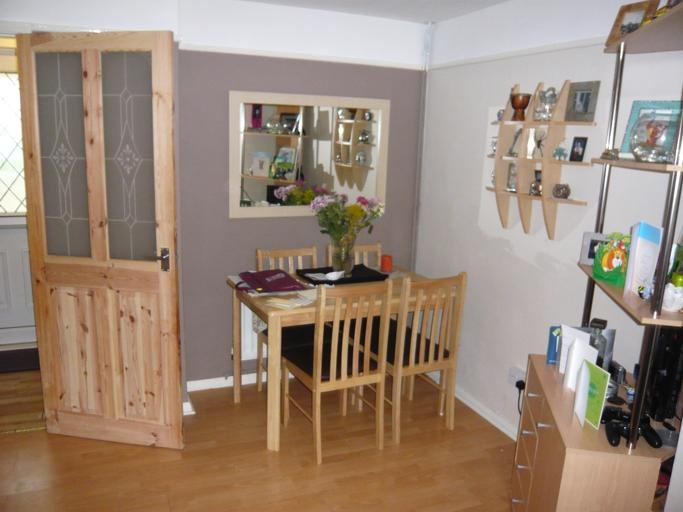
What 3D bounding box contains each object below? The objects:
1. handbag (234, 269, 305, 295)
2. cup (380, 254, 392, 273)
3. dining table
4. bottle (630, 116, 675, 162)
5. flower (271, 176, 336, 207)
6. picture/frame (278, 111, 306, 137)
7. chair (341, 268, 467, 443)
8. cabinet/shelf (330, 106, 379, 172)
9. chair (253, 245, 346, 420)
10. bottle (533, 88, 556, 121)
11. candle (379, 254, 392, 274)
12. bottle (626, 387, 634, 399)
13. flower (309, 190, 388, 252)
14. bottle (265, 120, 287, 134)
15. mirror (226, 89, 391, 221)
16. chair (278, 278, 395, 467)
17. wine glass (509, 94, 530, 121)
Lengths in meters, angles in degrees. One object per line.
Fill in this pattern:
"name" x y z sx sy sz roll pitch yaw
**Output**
"handbag" -0.499 0.190 3.795 0.235 0.053 0.248 -2 26 -28
"cup" 0.357 0.067 4.265 0.112 0.136 0.116 1 6 0
"dining table" -0.012 0.625 4.107 1.567 1.211 1.194 0 11 -13
"bottle" 1.389 -0.511 2.425 0.132 0.202 0.164 1 -8 18
"flower" -0.336 -0.526 4.334 0.346 0.231 0.230 -7 12 -29
"picture/frame" -0.391 -1.035 4.222 0.184 0.191 0.126 1 7 -8
"chair" 0.434 0.726 3.807 0.722 1.616 0.890 -5 23 -15
"cabinet/shelf" 0.089 -0.972 4.408 0.449 0.695 0.198 4 11 4
"chair" -0.393 0.469 4.119 0.572 1.007 0.621 -1 11 4
"bottle" 1.280 -0.947 3.379 0.129 0.201 0.086 4 13 20
"candle" 0.357 0.069 4.335 0.115 0.141 0.119 2 6 12
"bottle" 1.462 0.698 2.728 0.037 0.051 0.069 -1 1 10
"flower" 0.049 -0.298 4.122 0.556 0.561 0.610 -4 9 -4
"bottle" -0.503 -0.994 4.182 0.168 0.091 0.031 -6 13 -28
"mirror" -0.213 -0.817 4.336 1.335 1.037 0.019 -1 23 -21
"chair" -0.034 0.723 3.758 0.579 1.209 0.700 -4 11 -29
"wine glass" 1.110 -0.969 3.483 0.127 0.188 0.149 3 16 9
